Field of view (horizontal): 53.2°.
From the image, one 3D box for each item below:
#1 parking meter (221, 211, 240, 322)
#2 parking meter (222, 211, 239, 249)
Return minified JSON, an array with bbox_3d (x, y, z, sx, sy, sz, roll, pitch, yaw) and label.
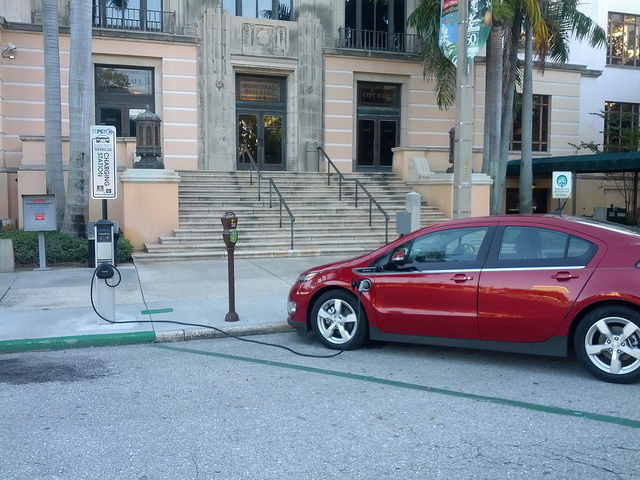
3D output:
[{"bbox_3d":[-1.418,0.411,10.166,0.233,1.750,0.597,-2,11,-8],"label":"parking meter"},{"bbox_3d":[-1.411,-0.155,10.049,0.231,0.595,0.215,-4,12,-20],"label":"parking meter"}]
